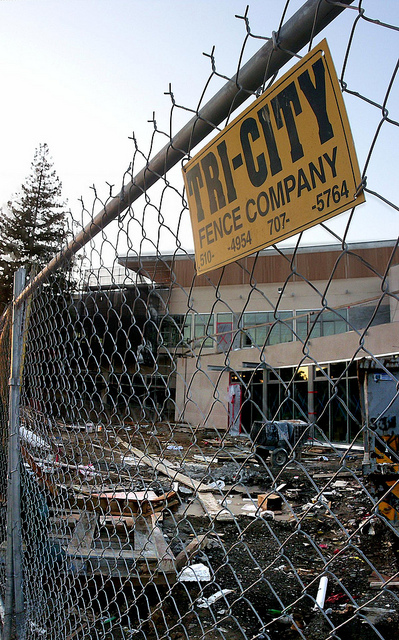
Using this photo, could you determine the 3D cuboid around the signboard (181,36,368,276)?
[{"bbox_3d":[0.115,-0.323,1.251,0.004,0.330,0.544,-3,-11,-36],"label":"signboard"}]
